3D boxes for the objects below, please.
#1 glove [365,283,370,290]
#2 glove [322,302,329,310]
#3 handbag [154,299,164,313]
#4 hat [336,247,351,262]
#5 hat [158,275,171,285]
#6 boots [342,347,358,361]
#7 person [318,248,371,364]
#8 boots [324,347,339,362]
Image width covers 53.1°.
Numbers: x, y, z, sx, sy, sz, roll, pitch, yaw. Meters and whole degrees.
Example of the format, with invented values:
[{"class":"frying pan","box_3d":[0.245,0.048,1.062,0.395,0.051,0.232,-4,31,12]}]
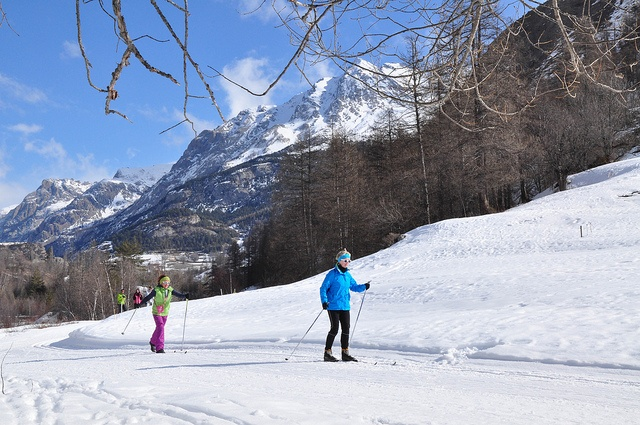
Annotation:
[{"class":"glove","box_3d":[1.611,2.508,21.625,0.213,0.210,0.226,1,-2,3]},{"class":"glove","box_3d":[0.199,3.144,21.424,0.213,0.230,0.193,-1,-11,-16]},{"class":"handbag","box_3d":[-5.849,3.496,23.445,0.362,0.351,0.365,-8,5,42]},{"class":"hat","box_3d":[0.788,1.471,21.731,0.383,0.372,0.454,2,-31,-23]},{"class":"hat","box_3d":[-5.714,2.501,23.532,0.372,0.291,0.278,3,-1,41]},{"class":"boots","box_3d":[0.974,4.797,21.421,0.515,0.432,0.241,-4,-10,0]},{"class":"person","box_3d":[0.705,3.160,21.553,1.314,3.728,0.745,-3,-10,-1]},{"class":"boots","box_3d":[0.443,4.834,21.463,0.625,0.427,0.243,2,-4,5]}]
